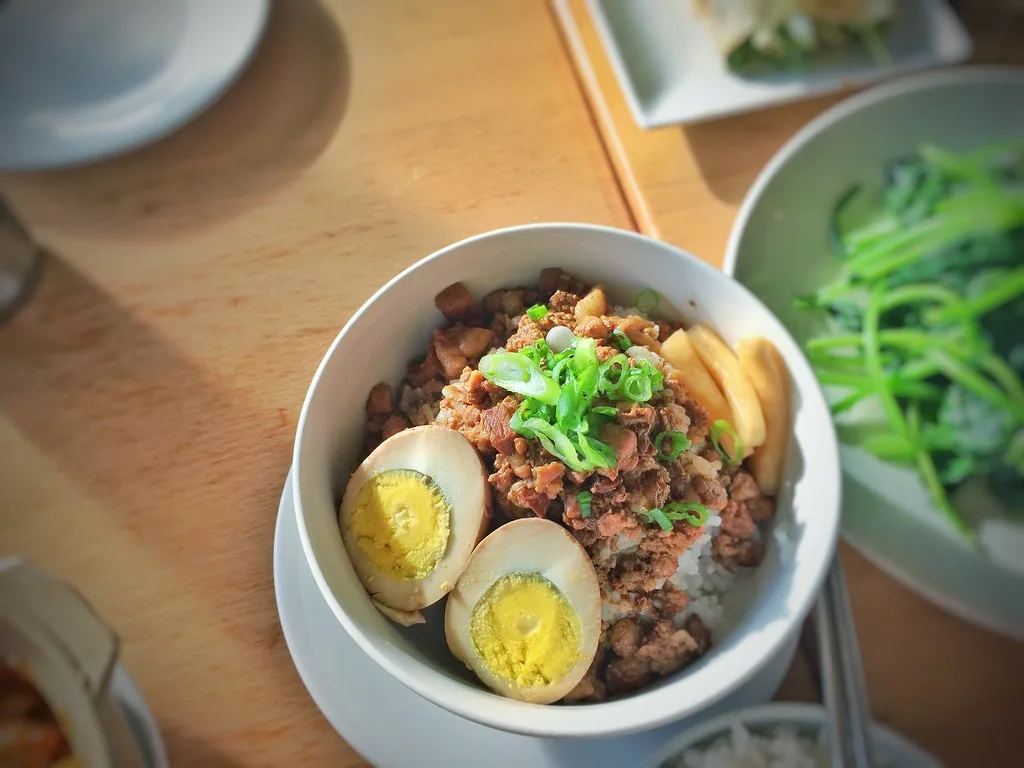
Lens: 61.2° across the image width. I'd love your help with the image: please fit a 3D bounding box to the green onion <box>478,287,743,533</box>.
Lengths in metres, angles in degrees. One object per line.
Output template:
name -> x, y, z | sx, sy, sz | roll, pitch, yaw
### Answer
green onion -> 0.121, 0.003, 1.264 | 0.324, 0.124, 0.366 | -6, 85, -5
